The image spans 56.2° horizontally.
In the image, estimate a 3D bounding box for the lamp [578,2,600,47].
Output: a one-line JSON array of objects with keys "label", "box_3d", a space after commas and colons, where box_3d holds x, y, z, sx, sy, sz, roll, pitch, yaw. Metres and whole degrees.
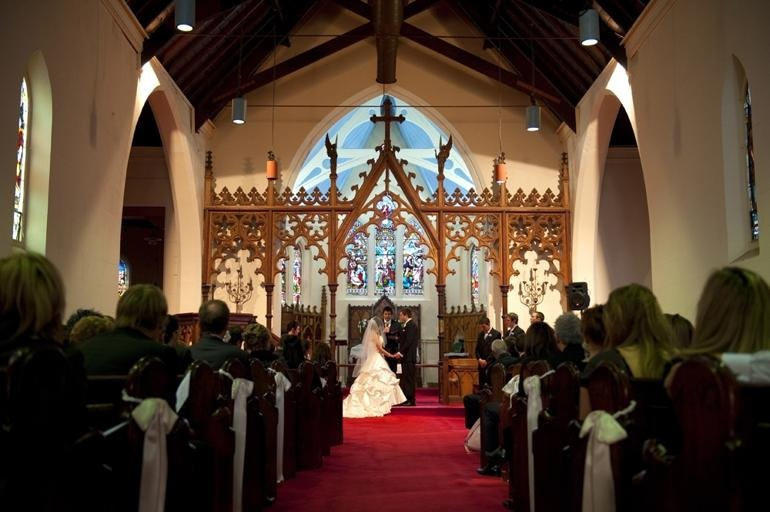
[{"label": "lamp", "box_3d": [2.643, -3.018, 9.411, 0.229, 0.601, 0.568, -1, -6, 14]}]
